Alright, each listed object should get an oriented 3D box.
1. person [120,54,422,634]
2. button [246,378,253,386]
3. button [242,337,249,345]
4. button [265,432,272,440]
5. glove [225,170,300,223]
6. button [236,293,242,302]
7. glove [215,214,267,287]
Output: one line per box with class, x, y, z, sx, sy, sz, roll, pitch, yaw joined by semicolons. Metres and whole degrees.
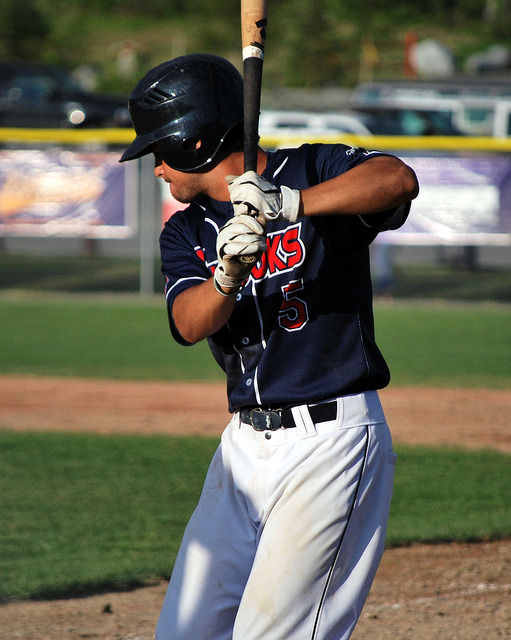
person;-0.043;0.055;2.421;0.811;1.496;0.543;9;16;33
button;-0.016;0.158;2.368;0.009;0.020;0.024;-5;13;-23
button;-0.025;0.052;2.388;0.022;0.018;0.002;8;15;33
button;0.032;0.293;2.356;0.026;0.020;0.006;-1;-1;11
glove;0.056;-0.303;2.205;0.074;0.153;0.184;-25;20;-20
button;-0.043;-0.059;2.393;0.011;0.024;0.010;-5;14;-22
glove;-0.005;-0.160;2.235;0.079;0.154;0.136;36;-3;-36
